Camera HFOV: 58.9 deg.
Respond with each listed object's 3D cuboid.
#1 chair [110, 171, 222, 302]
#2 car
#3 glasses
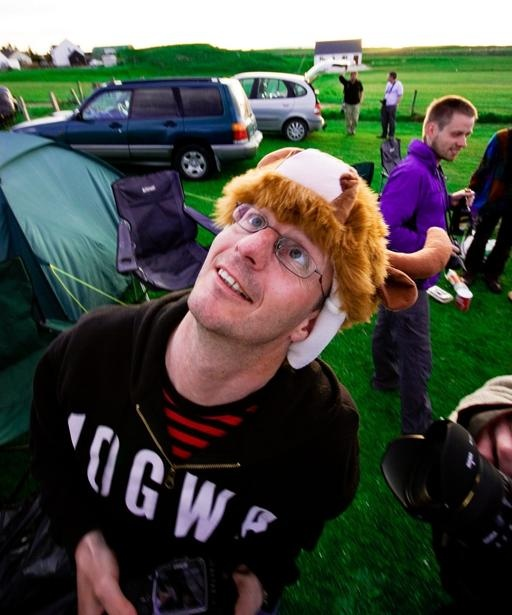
[{"bbox_3d":[-0.789,-0.531,4.407,1.046,1.313,0.965,-15,37,-15],"label":"chair"},{"bbox_3d":[0.708,-4.770,10.314,2.246,1.146,1.443,6,38,1],"label":"car"},{"bbox_3d":[0.038,-0.144,1.192,0.096,0.198,0.290,-30,41,-33],"label":"glasses"}]
